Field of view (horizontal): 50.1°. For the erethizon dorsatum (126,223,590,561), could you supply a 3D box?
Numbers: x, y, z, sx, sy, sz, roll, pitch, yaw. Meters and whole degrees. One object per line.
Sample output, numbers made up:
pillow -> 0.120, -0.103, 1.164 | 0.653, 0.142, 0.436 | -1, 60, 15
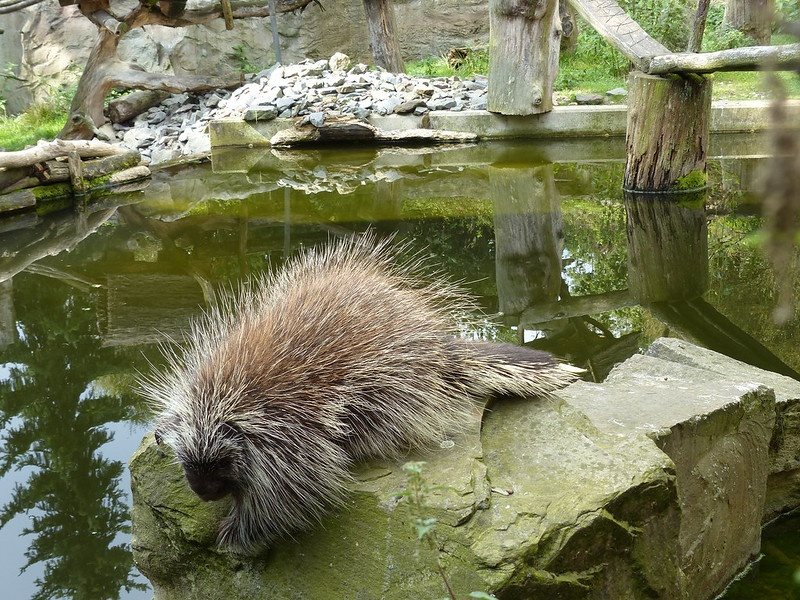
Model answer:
erethizon dorsatum -> -0.106, 0.351, 4.196 | 1.273, 0.912, 2.057 | 21, 16, 41
